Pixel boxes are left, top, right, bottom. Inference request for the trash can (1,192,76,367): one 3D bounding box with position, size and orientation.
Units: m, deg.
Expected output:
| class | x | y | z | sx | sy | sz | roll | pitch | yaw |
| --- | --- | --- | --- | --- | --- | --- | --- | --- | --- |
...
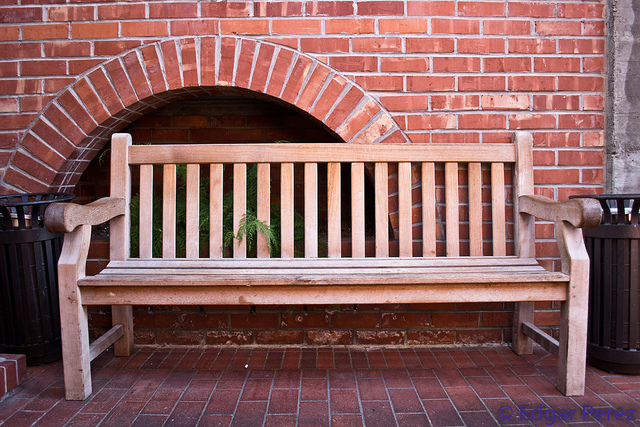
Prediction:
| class | x | y | z | sx | sy | sz | roll | pitch | yaw |
| --- | --- | --- | --- | --- | --- | --- | --- | --- | --- |
| trash can | -1.993 | 0.491 | 4.331 | 0.431 | 1.155 | 0.275 | -3 | 2 | -13 |
